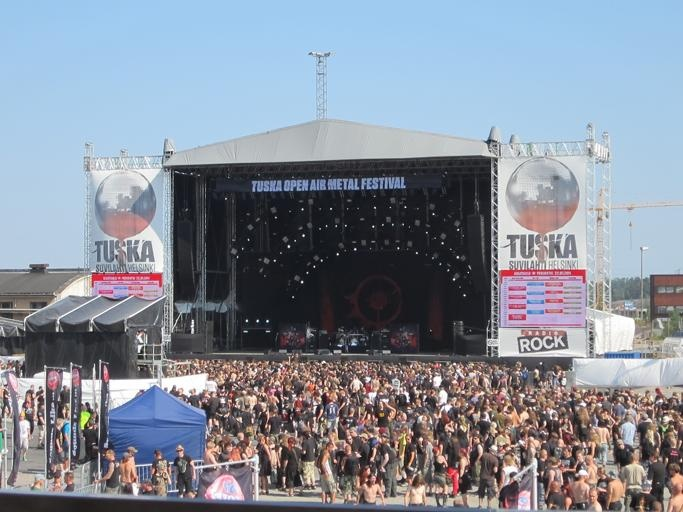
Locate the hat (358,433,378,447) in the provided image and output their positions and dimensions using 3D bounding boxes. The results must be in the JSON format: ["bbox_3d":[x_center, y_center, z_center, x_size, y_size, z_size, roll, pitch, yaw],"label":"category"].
[{"bbox_3d":[0.829,6.182,56.188,0.487,0.483,0.835,-3,-5,29],"label":"hat"}]

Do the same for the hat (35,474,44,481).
[{"bbox_3d":[-9.568,7.090,53.445,0.338,0.182,0.472,0,-2,-4],"label":"hat"}]

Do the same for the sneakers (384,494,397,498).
[{"bbox_3d":[1.572,8.129,56.629,0.458,0.140,0.125,2,-5,-33],"label":"sneakers"}]

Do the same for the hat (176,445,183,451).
[{"bbox_3d":[-5.364,6.361,55.406,0.198,0.110,0.276,0,-8,-6],"label":"hat"}]

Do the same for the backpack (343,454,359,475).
[{"bbox_3d":[0.196,6.936,55.494,0.681,0.640,0.373,2,-1,-40],"label":"backpack"}]
